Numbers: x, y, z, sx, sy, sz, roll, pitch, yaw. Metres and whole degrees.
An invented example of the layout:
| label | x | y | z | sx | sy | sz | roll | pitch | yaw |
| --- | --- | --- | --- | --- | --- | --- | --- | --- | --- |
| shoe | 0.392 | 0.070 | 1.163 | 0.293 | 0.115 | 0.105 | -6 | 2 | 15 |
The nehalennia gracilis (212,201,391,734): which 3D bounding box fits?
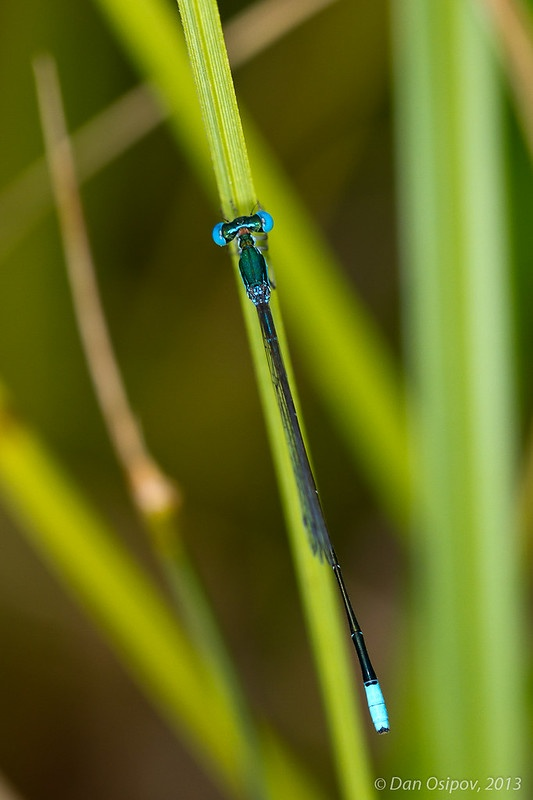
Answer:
| label | x | y | z | sx | sy | sz | roll | pitch | yaw |
| --- | --- | --- | --- | --- | --- | --- | --- | --- | --- |
| nehalennia gracilis | 0.024 | 0.050 | 0.728 | 0.061 | 0.438 | 0.242 | -16 | -44 | 13 |
